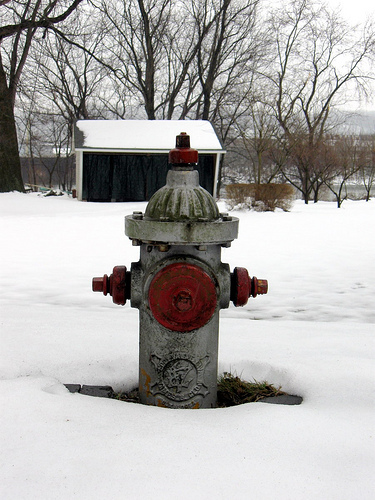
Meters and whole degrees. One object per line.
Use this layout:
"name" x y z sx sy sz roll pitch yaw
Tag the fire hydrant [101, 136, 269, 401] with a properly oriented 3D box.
"fire hydrant" -0.024 0.092 4.433 0.846 1.427 0.572 0 6 -8
